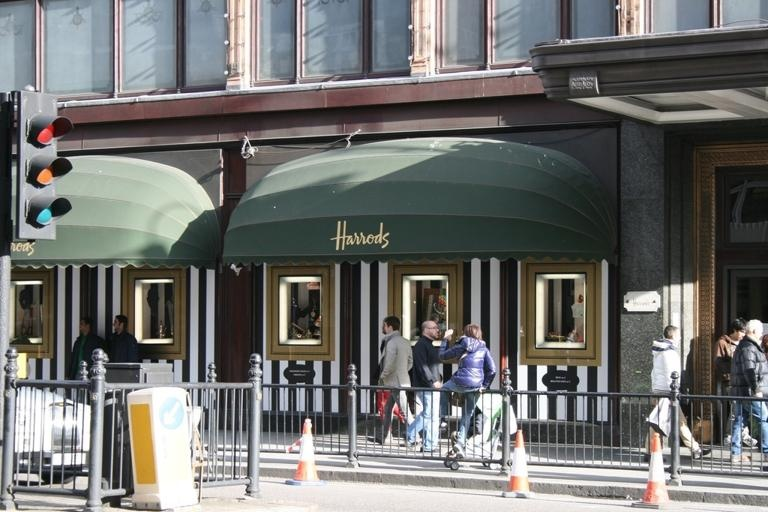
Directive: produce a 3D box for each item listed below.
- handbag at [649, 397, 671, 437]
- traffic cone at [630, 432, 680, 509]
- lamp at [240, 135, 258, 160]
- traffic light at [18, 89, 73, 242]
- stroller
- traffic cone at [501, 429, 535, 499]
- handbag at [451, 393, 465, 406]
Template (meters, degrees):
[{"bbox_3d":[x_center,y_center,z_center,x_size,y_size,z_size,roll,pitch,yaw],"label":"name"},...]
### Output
[{"bbox_3d":[4.628,2.685,23.220,0.382,0.610,0.880,-2,-6,10],"label":"handbag"},{"bbox_3d":[4.192,3.344,21.594,0.496,1.114,0.789,-2,-6,15],"label":"traffic cone"},{"bbox_3d":[-2.726,-2.191,27.435,0.341,0.487,0.214,-4,-7,27],"label":"lamp"},{"bbox_3d":[-4.864,-1.297,19.600,0.753,2.127,0.368,1,-6,-15],"label":"traffic light"},{"bbox_3d":[1.663,2.912,23.206,1.286,1.310,0.636,-5,-7,33],"label":"stroller"},{"bbox_3d":[2.138,3.310,21.871,0.546,0.991,0.434,-1,-6,12],"label":"traffic cone"},{"bbox_3d":[1.265,2.445,23.649,0.239,0.168,0.233,-1,0,14],"label":"handbag"}]
